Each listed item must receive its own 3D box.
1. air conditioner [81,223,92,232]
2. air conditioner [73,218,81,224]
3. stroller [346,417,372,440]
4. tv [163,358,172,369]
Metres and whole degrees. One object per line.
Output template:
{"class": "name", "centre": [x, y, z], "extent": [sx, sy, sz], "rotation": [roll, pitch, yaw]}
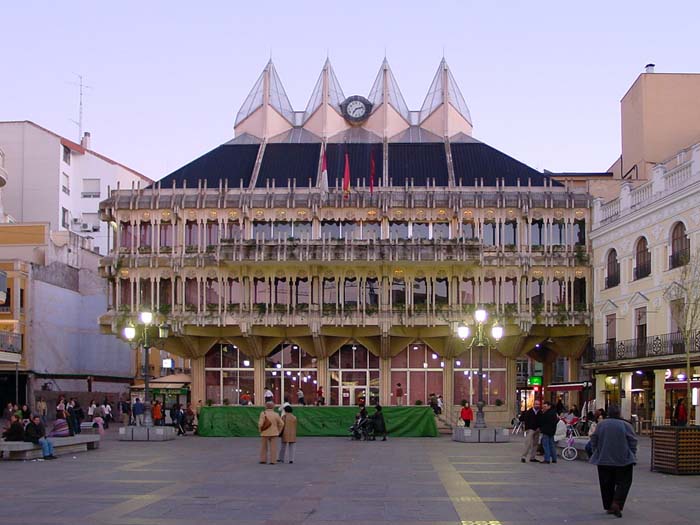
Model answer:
{"class": "air conditioner", "centre": [-21.587, -2.887, 113.546], "extent": [0.621, 0.632, 1.110], "rotation": [4, -2, -16]}
{"class": "air conditioner", "centre": [-22.175, -3.339, 112.453], "extent": [0.418, 0.432, 0.432], "rotation": [0, -8, -4]}
{"class": "stroller", "centre": [0.538, 8.466, 69.863], "extent": [1.133, 1.202, 0.873], "rotation": [2, -8, 4]}
{"class": "tv", "centre": [-11.715, 6.468, 88.208], "extent": [0.666, 0.732, 0.680], "rotation": [0, -5, 5]}
